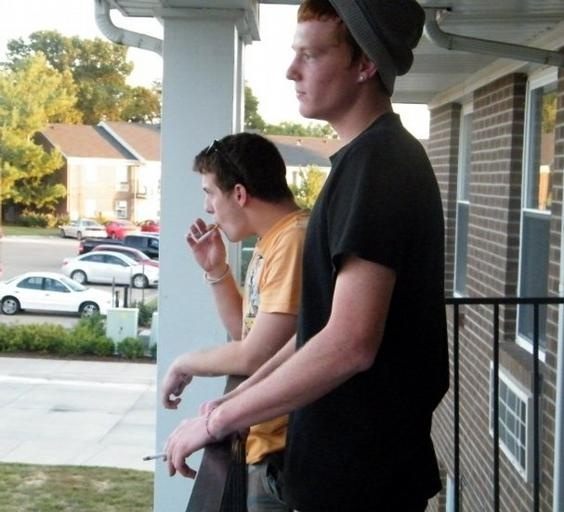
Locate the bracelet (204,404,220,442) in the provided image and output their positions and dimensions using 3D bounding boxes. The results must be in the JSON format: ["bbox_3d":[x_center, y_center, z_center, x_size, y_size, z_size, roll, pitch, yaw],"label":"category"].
[{"bbox_3d":[-0.198,0.450,1.869,0.025,0.085,0.066,8,-14,-25],"label":"bracelet"}]

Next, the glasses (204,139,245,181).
[{"bbox_3d":[-0.201,-0.343,2.425,0.144,0.042,0.126,46,3,-28],"label":"glasses"}]
